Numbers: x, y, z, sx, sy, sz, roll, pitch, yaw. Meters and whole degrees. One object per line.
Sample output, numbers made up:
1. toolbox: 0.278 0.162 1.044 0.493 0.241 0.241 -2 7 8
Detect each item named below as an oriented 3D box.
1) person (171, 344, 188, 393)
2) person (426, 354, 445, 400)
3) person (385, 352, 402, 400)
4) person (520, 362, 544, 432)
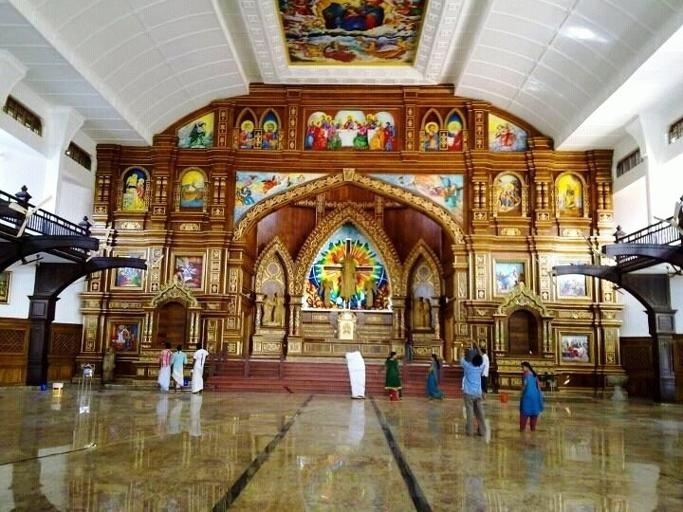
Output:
1. person: -5.893 4.065 17.131 0.491 1.632 1.069 4 -10 -18
2. person: 3.175 4.125 16.174 0.468 1.525 1.399 -1 -9 10
3. person: 1.754 4.090 16.116 0.491 1.509 0.962 0 -9 4
4. person: 4.010 2.991 10.084 0.460 1.476 1.469 -3 -9 21
